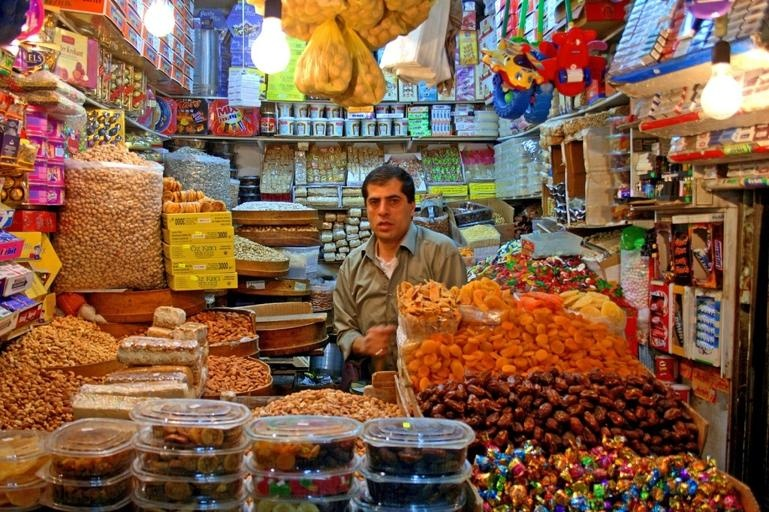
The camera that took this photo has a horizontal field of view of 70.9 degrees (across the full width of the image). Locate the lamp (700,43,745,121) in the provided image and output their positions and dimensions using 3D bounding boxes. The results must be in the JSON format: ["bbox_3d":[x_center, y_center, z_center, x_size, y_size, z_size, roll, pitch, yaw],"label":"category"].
[{"bbox_3d":[1.348,-0.686,2.159,0.122,0.289,0.369,4,7,32],"label":"lamp"}]

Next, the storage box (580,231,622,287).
[{"bbox_3d":[1.786,0.038,4.457,0.267,0.238,0.360,-17,24,-5],"label":"storage box"}]

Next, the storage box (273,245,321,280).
[{"bbox_3d":[-0.774,0.054,5.061,0.279,0.210,0.345,0,3,12],"label":"storage box"}]

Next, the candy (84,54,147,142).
[{"bbox_3d":[-2.261,-1.436,4.649,0.276,0.833,0.652,-1,-3,16],"label":"candy"}]

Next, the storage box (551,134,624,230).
[{"bbox_3d":[1.735,-0.634,4.577,0.358,0.803,0.874,-4,7,-4],"label":"storage box"}]

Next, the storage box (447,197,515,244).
[{"bbox_3d":[1.180,-0.483,6.661,0.602,0.261,0.755,-3,13,0],"label":"storage box"}]
